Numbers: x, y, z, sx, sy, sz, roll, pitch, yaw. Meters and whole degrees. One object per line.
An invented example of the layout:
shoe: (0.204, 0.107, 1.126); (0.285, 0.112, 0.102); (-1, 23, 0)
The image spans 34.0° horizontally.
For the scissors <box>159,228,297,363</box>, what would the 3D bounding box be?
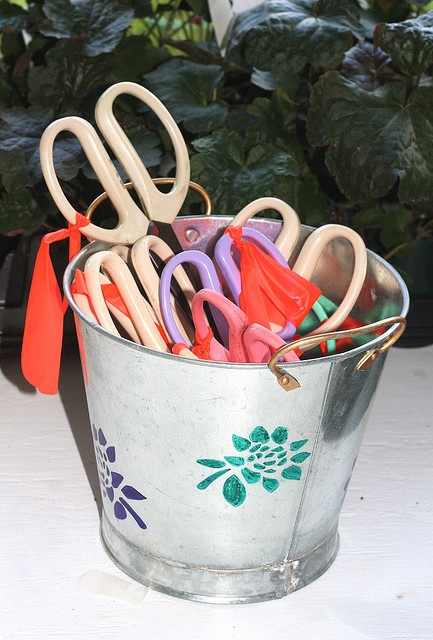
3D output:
scissors: (-0.012, -0.021, 0.678); (0.072, 0.112, 0.021); (-27, 29, -34)

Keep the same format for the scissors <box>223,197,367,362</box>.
scissors: (0.080, -0.062, 0.768); (0.024, 0.155, 0.148); (-24, -24, 33)

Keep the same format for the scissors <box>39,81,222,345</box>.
scissors: (-0.104, -0.139, 0.694); (0.178, 0.151, 0.048); (-35, 29, -26)

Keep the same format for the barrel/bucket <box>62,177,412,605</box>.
barrel/bucket: (0.007, 0.064, 0.807); (0.426, 0.310, 0.360); (5, 28, 0)

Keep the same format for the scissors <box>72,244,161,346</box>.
scissors: (-0.090, -0.023, 0.664); (0.023, 0.107, 0.054); (-33, 9, 23)

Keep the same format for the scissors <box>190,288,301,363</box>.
scissors: (0.030, 0.004, 0.676); (0.080, 0.063, 0.011); (31, 68, 27)
